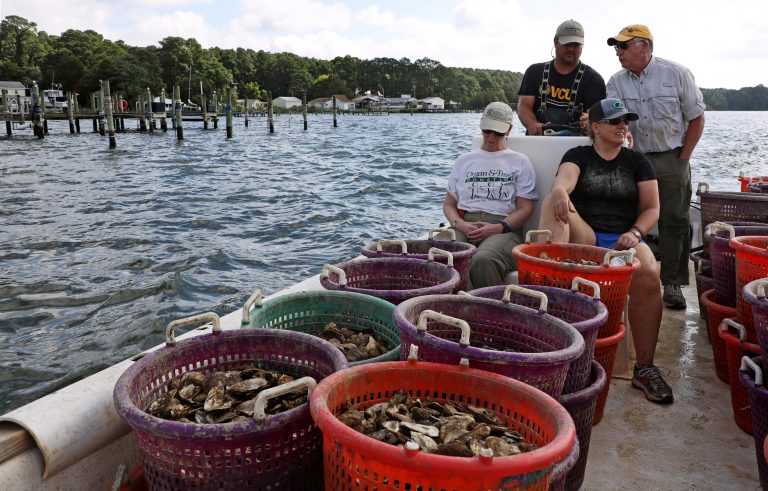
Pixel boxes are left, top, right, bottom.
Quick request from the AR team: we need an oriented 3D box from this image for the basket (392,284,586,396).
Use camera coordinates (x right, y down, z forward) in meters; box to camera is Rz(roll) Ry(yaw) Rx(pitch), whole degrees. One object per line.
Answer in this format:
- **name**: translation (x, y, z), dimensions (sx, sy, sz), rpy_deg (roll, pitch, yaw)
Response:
- **basket**: translation (0.730, 0.612, 3.777), dimensions (0.875, 0.482, 0.943), rpy_deg (-1, 7, -43)

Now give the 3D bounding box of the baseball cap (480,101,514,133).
- **baseball cap**: translation (1.206, -1.416, 6.130), dimensions (0.330, 0.261, 0.517), rpy_deg (15, 30, 14)

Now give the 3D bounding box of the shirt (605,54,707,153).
- **shirt**: translation (3.165, -1.714, 6.719), dimensions (1.120, 1.124, 0.508), rpy_deg (6, 36, 44)

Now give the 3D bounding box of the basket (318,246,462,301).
- **basket**: translation (0.077, 0.269, 4.898), dimensions (0.631, 0.320, 0.643), rpy_deg (4, 7, 32)

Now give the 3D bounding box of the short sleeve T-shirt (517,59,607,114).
- **short sleeve T-shirt**: translation (2.173, -1.862, 6.972), dimensions (1.085, 0.802, 0.434), rpy_deg (14, 22, 24)

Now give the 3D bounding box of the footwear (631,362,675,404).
- **footwear**: translation (2.331, 1.189, 4.952), dimensions (0.245, 0.235, 0.530), rpy_deg (-2, 10, -1)

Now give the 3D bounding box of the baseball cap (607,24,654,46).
- **baseball cap**: translation (2.714, -2.332, 6.283), dimensions (0.440, 0.192, 0.338), rpy_deg (5, 16, 22)

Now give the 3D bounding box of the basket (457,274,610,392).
- **basket**: translation (1.201, 0.544, 4.210), dimensions (0.898, 0.607, 0.882), rpy_deg (2, -1, -41)

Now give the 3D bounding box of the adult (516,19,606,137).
- **adult**: translation (2.097, -1.804, 6.870), dimensions (0.936, 1.738, 0.938), rpy_deg (13, 25, 28)

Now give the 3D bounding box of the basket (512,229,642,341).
- **basket**: translation (1.587, 0.267, 4.857), dimensions (0.943, 0.690, 0.917), rpy_deg (1, 6, -11)

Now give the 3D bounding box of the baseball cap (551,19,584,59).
- **baseball cap**: translation (2.074, -2.343, 6.402), dimensions (0.298, 0.381, 0.441), rpy_deg (3, 15, 14)

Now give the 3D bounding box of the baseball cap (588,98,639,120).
- **baseball cap**: translation (2.171, -1.258, 5.418), dimensions (0.361, 0.197, 0.256), rpy_deg (2, 18, 38)

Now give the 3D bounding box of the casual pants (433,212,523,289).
- **casual pants**: translation (1.081, 0.058, 5.902), dimensions (0.580, 0.901, 0.441), rpy_deg (0, -20, 27)

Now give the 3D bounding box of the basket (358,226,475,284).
- **basket**: translation (0.439, 0.050, 5.357), dimensions (0.683, 0.406, 0.760), rpy_deg (-2, 2, -7)
